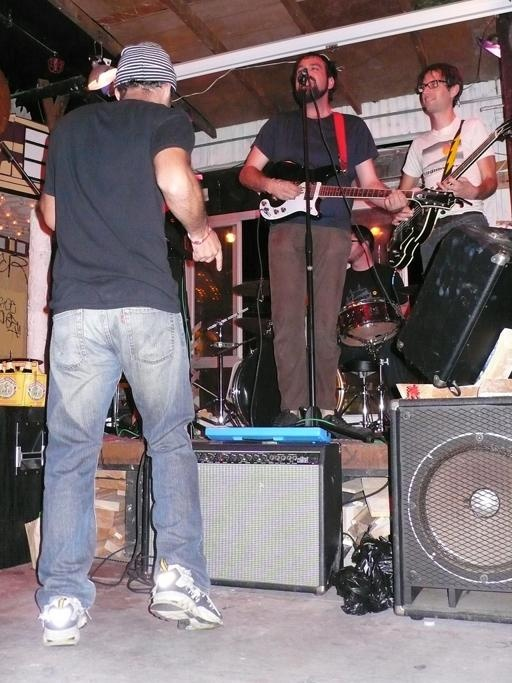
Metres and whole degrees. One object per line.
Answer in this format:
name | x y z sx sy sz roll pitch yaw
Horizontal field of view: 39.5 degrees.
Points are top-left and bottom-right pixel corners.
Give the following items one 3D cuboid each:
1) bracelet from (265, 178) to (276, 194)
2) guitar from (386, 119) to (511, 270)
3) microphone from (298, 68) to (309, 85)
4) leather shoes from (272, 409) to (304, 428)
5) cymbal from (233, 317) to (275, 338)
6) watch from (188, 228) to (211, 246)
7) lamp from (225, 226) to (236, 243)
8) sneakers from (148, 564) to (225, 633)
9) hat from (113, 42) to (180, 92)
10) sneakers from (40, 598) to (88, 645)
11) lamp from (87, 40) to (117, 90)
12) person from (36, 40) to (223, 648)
bracelet | 0.056 -0.636 2.952 0.059 0.050 0.058 6 -7 -19
guitar | 0.901 -0.627 3.338 0.102 0.323 0.926 -2 -33 -35
microphone | 0.179 -1.023 2.781 0.056 0.066 0.021 2 0 14
leather shoes | 0.124 0.281 2.613 0.133 0.050 0.042 -9 -31 26
cymbal | -0.014 -0.099 5.091 0.235 0.045 0.243 2 -7 3
watch | -0.153 -0.284 1.943 0.047 0.018 0.055 -6 -23 -6
lamp | -0.265 -1.113 7.444 0.122 0.150 0.135 22 39 18
sneakers | -0.174 0.653 1.813 0.127 0.120 0.274 -15 -40 19
hat | -0.312 -0.763 2.016 0.150 0.106 0.140 4 7 16
sneakers | -0.459 0.661 1.694 0.072 0.062 0.140 0 -2 -2
lamp | -0.976 -1.747 4.524 0.165 0.240 0.122 -11 4 -19
person | -0.322 0.031 1.834 0.485 1.392 0.307 1 -6 -12
